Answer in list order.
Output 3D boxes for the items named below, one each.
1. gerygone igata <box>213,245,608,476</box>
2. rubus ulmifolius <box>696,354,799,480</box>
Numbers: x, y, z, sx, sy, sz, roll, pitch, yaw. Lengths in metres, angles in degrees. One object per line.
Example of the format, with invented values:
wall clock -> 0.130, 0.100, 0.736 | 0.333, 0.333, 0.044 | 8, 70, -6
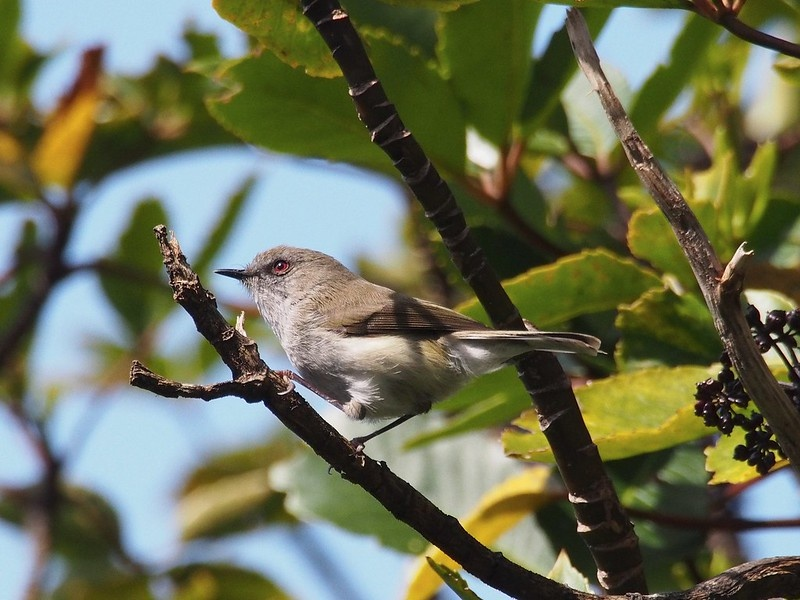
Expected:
gerygone igata -> -0.173, 0.185, 5.138 | 1.463, 1.346, 0.743 | -5, 0, -13
rubus ulmifolius -> 1.323, 0.461, 4.016 | 0.366, 0.542, 0.453 | 0, 0, 6
